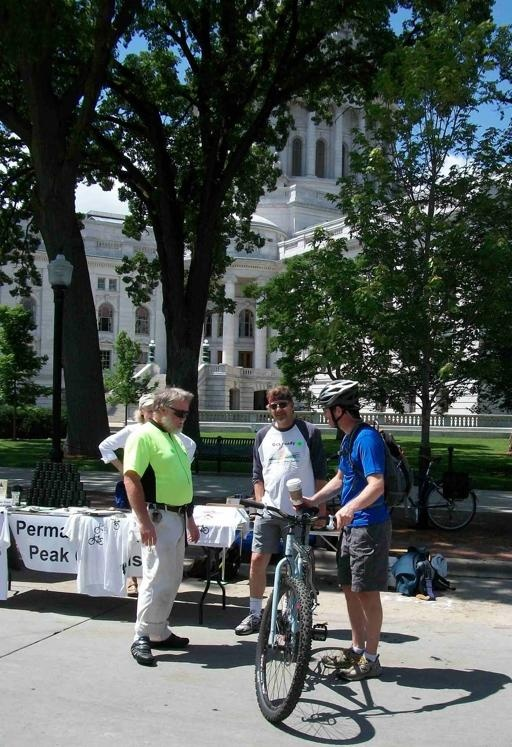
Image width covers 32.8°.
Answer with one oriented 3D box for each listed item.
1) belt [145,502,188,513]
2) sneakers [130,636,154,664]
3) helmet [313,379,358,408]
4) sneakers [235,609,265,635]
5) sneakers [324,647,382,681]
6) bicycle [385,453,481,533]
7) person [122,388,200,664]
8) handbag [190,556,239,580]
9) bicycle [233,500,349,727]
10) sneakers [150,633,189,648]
[{"bbox_3d":[-0.578,0.865,5.642,0.152,0.047,0.117,3,-2,1],"label":"belt"},{"bbox_3d":[-0.695,1.705,5.365,0.127,0.122,0.261,0,0,-19],"label":"sneakers"},{"bbox_3d":[0.501,0.117,5.293,0.212,0.129,0.157,-4,-1,4],"label":"helmet"},{"bbox_3d":[-0.009,1.745,6.093,0.102,0.137,0.307,-8,-13,34],"label":"sneakers"},{"bbox_3d":[0.551,1.719,5.216,0.370,0.161,0.136,0,-5,27],"label":"sneakers"},{"bbox_3d":[2.018,1.480,11.149,1.580,1.004,0.766,2,-5,2],"label":"bicycle"},{"bbox_3d":[-0.655,0.937,5.632,0.370,1.692,0.704,0,0,16],"label":"person"},{"bbox_3d":[-0.398,1.736,8.032,0.286,0.138,0.413,-3,-9,26],"label":"handbag"},{"bbox_3d":[0.189,1.298,4.912,0.476,1.010,1.460,0,0,0],"label":"bicycle"},{"bbox_3d":[-0.574,1.743,5.734,0.247,0.106,0.090,1,-6,-7],"label":"sneakers"}]
